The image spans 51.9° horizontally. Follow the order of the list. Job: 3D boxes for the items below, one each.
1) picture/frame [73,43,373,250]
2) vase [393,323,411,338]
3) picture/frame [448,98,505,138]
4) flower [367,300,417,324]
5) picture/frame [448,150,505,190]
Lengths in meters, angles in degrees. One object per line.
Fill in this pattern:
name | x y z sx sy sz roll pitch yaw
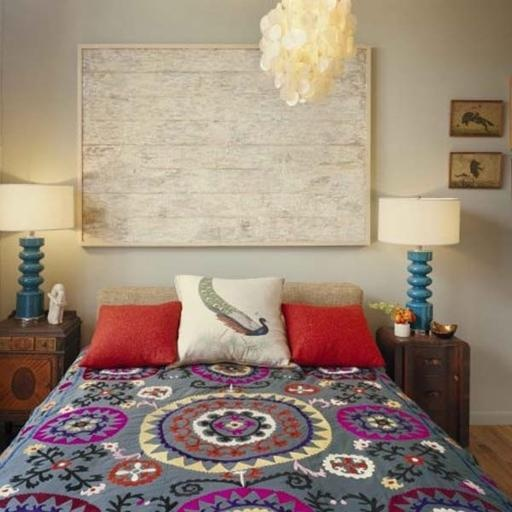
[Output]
picture/frame | -0.275 -0.694 3.158 1.812 0.877 0.035 0 3 -2
vase | 0.855 0.429 3.050 0.102 0.054 0.087 0 -1 6
picture/frame | 1.401 -0.877 3.332 0.347 0.177 0.029 0 0 -2
flower | 0.812 0.346 3.163 0.276 0.107 0.123 5 24 23
picture/frame | 1.410 -0.551 3.344 0.354 0.181 0.020 0 1 0
